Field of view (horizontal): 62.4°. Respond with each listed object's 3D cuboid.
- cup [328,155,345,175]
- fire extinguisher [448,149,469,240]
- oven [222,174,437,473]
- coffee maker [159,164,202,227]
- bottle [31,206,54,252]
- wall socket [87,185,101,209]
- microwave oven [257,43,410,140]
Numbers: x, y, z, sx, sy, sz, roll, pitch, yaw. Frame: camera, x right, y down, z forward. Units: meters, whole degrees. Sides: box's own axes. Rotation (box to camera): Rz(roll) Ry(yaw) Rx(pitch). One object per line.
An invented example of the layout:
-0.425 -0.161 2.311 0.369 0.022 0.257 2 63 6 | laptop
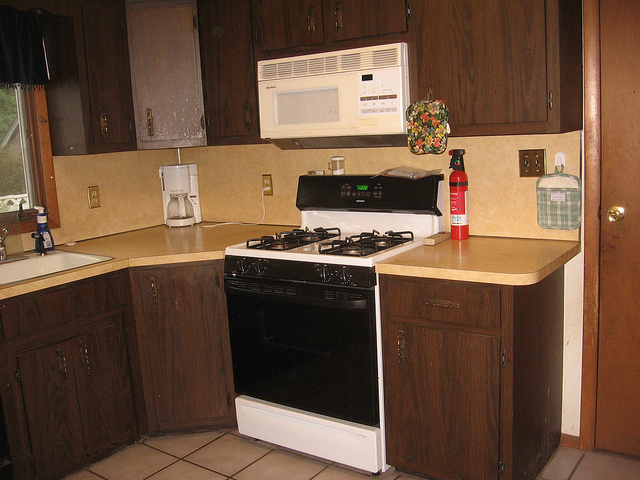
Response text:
0.125 -0.429 3.089 0.107 0.115 0.074 1 3 24 | cup
0.714 -0.233 2.731 0.089 0.463 0.177 -1 10 14 | fire extinguisher
0.054 0.393 2.852 0.976 1.431 0.700 4 12 38 | oven
-0.896 -0.323 3.681 0.240 0.423 0.239 -6 11 -12 | coffee maker
-1.524 -0.074 3.059 0.099 0.244 0.231 -8 11 -26 | bottle
-1.356 -0.278 3.359 0.028 0.179 0.123 0 6 30 | wall socket
0.121 -0.775 2.870 0.802 0.433 0.281 3 13 27 | microwave oven
